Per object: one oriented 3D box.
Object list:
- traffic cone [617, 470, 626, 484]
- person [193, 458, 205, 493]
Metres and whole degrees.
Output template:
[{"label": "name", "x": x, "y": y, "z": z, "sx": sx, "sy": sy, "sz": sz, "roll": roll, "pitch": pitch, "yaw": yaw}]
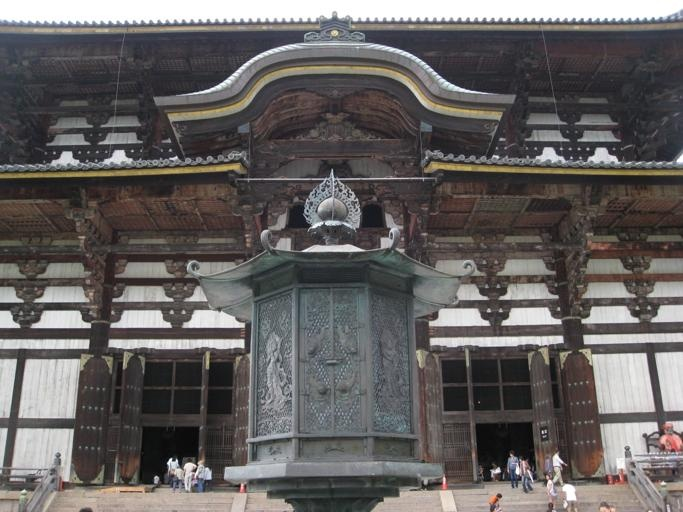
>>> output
[{"label": "traffic cone", "x": 6.619, "y": 5.192, "z": 18.399, "sx": 0.157, "sy": 0.372, "sz": 0.492, "roll": -9, "pitch": -25, "yaw": 16}, {"label": "person", "x": -3.357, "y": 5.233, "z": 18.625, "sx": 0.224, "sy": 0.733, "sz": 0.444, "roll": 3, "pitch": -25, "yaw": -11}]
